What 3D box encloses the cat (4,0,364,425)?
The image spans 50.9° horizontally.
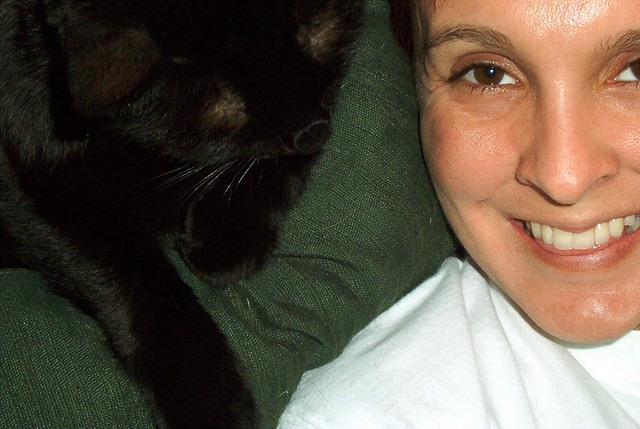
[{"bbox_3d":[-0.333,0.022,1.490,0.632,0.924,0.299,-28,17,-38],"label":"cat"}]
